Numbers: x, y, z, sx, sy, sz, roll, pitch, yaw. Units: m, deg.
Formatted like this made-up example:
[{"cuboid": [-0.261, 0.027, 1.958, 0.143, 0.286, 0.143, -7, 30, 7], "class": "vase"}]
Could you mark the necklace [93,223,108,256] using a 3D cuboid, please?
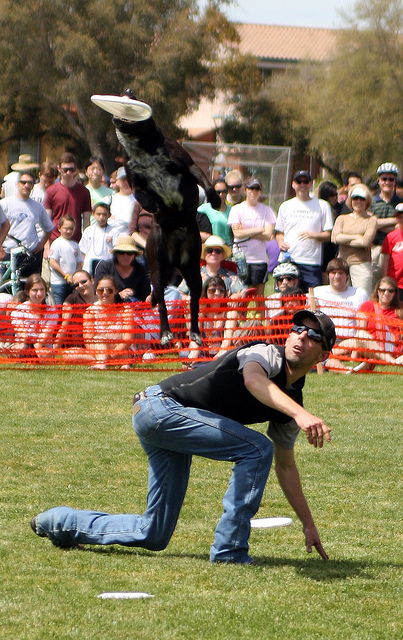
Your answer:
[{"cuboid": [-1.061, -0.836, 15.200, 0.167, 0.324, 0.066, 8, 11, 33], "class": "necklace"}]

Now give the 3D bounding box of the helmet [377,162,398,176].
[{"cuboid": [1.909, -1.575, 15.400, 0.186, 0.157, 0.339, 1, 2, 5], "class": "helmet"}]

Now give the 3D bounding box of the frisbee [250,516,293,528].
[{"cuboid": [0.450, 1.312, 9.720, 0.271, 0.026, 0.248, 2, 13, 1], "class": "frisbee"}]

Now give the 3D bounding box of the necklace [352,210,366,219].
[{"cuboid": [1.512, -1.047, 14.552, 0.143, 0.068, 0.130, 7, 13, 24], "class": "necklace"}]

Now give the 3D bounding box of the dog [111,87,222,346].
[{"cuboid": [-0.209, -0.521, 8.895, 0.392, 1.760, 0.707, -3, 31, -1], "class": "dog"}]

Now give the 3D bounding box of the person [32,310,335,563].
[{"cuboid": [-0.082, 0.756, 9.080, 1.620, 1.658, 0.920, 3, -25, 10], "class": "person"}]

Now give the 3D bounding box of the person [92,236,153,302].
[{"cuboid": [-0.787, -0.486, 14.242, 0.423, 0.814, 0.864, -1, 1, -3], "class": "person"}]

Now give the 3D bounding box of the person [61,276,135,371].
[{"cuboid": [-0.868, 0.046, 13.791, 0.554, 0.966, 0.597, -2, 4, 37], "class": "person"}]

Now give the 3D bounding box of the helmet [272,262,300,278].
[{"cuboid": [0.779, -0.473, 13.977, 0.237, 0.152, 0.321, 2, 12, 2], "class": "helmet"}]
